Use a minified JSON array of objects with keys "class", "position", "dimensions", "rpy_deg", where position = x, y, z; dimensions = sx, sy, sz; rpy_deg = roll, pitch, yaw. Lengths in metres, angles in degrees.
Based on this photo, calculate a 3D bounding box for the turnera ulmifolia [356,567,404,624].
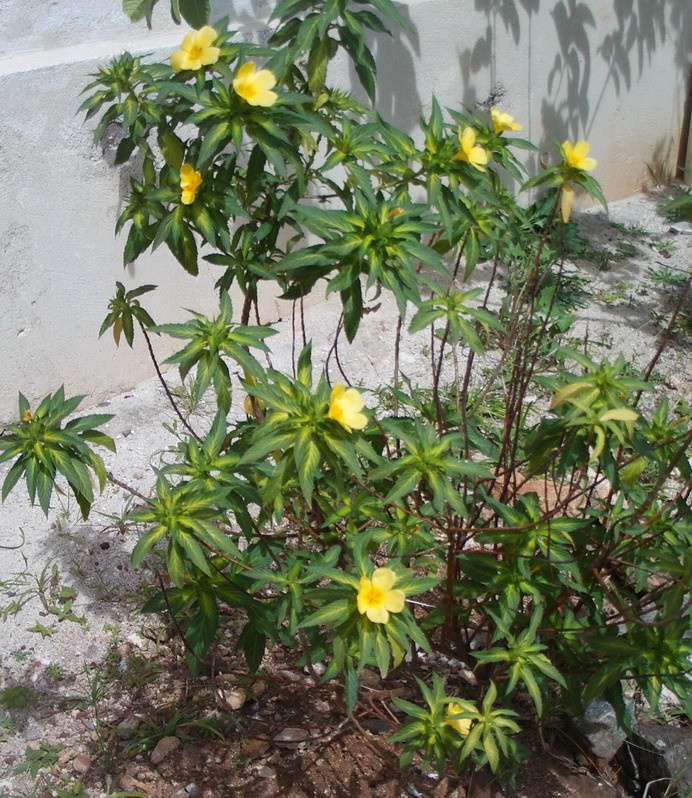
[{"class":"turnera ulmifolia","position":[0.060,0.359,1.190],"dimensions":[0.084,0.093,0.064],"rpy_deg":[17,43,25]}]

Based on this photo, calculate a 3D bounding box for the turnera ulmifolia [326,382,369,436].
[{"class":"turnera ulmifolia","position":[0.012,0.023,1.276],"dimensions":[0.096,0.084,0.041],"rpy_deg":[-13,8,-33]}]

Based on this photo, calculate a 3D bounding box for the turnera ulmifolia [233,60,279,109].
[{"class":"turnera ulmifolia","position":[-0.214,-0.739,1.558],"dimensions":[0.102,0.107,0.154],"rpy_deg":[-7,36,-4]}]
